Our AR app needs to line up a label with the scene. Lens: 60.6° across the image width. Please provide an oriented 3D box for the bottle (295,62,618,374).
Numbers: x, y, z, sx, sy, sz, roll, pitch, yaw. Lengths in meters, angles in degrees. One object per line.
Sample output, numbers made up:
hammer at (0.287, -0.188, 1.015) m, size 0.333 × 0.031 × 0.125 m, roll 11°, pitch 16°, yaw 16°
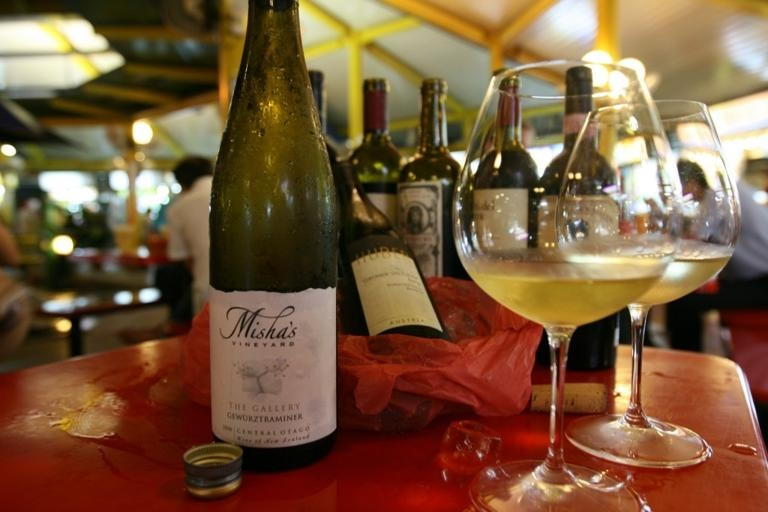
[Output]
bottle at (0.220, -0.076, 1.349) m, size 0.456 × 0.727 × 0.426 m, roll -1°, pitch 2°, yaw 0°
